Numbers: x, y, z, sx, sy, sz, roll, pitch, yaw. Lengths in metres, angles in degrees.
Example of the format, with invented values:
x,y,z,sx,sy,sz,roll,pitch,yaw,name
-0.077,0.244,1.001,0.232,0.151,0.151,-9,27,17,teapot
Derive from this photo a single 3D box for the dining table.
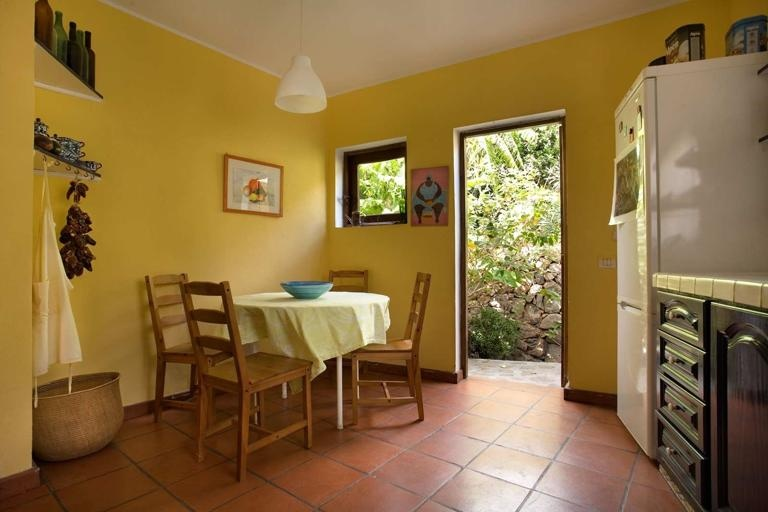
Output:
x,y,z,sx,sy,sz,roll,pitch,yaw,name
-0.626,0.824,4.282,1.046,0.820,1.018,-4,-16,40,dining table

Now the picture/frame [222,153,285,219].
x,y,z,sx,sy,sz,roll,pitch,yaw,name
-1.328,-0.696,5.069,0.026,0.573,0.680,-4,-5,42,picture/frame

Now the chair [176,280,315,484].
x,y,z,sx,sy,sz,roll,pitch,yaw,name
-1.045,0.864,3.889,0.804,1.321,0.729,-4,3,-45,chair

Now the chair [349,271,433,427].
x,y,z,sx,sy,sz,roll,pitch,yaw,name
0.020,0.741,4.484,0.839,1.199,0.820,1,-1,-26,chair

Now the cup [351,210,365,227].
x,y,z,sx,sy,sz,roll,pitch,yaw,name
-0.302,-0.434,5.851,0.111,0.150,0.142,-6,14,-24,cup

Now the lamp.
x,y,z,sx,sy,sz,roll,pitch,yaw,name
-0.713,-1.651,4.226,0.382,0.897,0.903,-3,13,-10,lamp
